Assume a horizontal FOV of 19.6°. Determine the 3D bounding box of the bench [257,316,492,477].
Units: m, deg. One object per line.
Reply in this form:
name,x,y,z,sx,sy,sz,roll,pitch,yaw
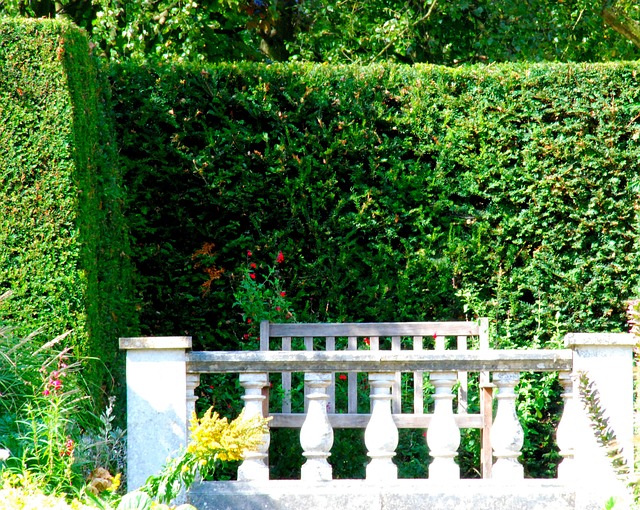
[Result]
bench,0.453,1.040,15.335,1.933,0.936,1.404,4,25,6
